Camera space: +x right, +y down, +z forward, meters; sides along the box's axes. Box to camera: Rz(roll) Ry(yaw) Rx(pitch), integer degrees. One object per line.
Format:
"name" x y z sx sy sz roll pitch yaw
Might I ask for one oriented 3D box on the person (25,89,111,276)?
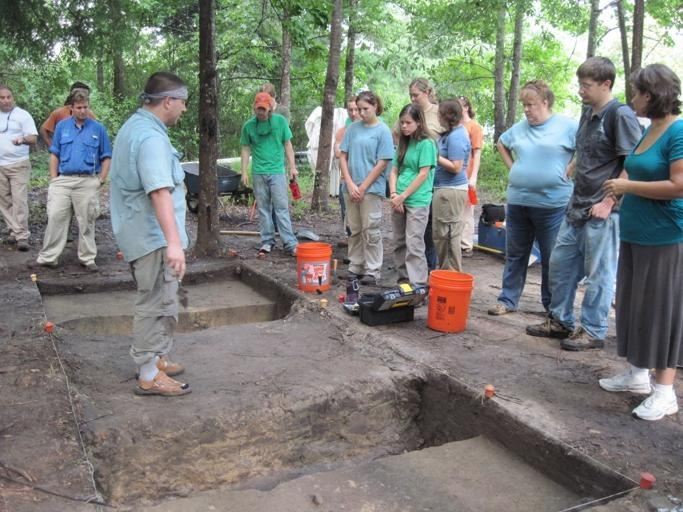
"person" -3.529 -0.966 8.113 1.008 2.349 0.396 -7 11 -19

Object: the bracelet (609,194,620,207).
"bracelet" 2.506 -0.504 5.675 0.085 0.036 0.112 6 -30 -2

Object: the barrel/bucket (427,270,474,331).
"barrel/bucket" 1.119 0.475 6.693 0.612 0.618 0.602 2 9 0

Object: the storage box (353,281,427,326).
"storage box" 0.566 0.523 6.747 0.701 0.442 0.442 -4 11 -35

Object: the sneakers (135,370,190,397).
"sneakers" -1.558 1.126 5.407 0.419 0.168 0.201 1 1 -9

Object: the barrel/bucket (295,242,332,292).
"barrel/bucket" -0.447 0.139 7.666 0.576 0.581 0.564 -1 6 0

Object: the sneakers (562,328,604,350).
"sneakers" 2.409 0.861 6.283 0.463 0.200 0.190 2 -3 -5

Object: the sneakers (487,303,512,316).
"sneakers" 1.803 0.630 7.060 0.280 0.106 0.121 1 3 -24

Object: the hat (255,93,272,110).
"hat" -1.138 -2.267 9.011 0.273 0.280 0.330 -4 9 -5

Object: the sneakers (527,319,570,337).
"sneakers" 2.158 0.754 6.540 0.462 0.192 0.162 7 12 11

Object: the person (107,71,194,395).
"person" -1.503 -0.279 5.056 0.711 2.438 0.627 -7 11 -19

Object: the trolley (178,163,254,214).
"trolley" -2.423 -1.240 11.860 0.795 0.709 1.606 7 12 32
